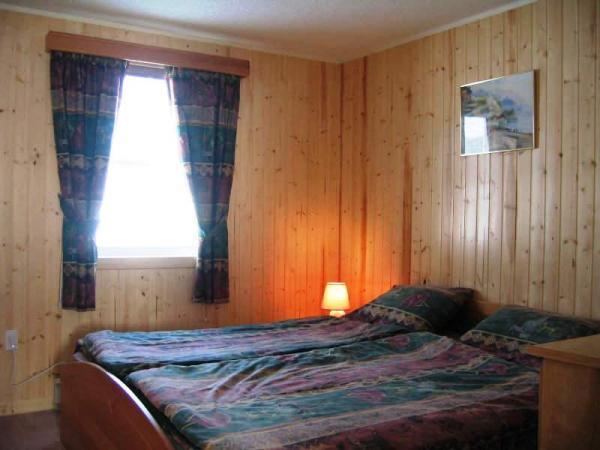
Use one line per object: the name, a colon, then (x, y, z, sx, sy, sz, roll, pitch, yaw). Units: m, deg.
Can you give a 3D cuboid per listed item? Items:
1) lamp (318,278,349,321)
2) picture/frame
lamp: (0.367, 0.714, 4.671, 0.306, 0.307, 0.299, -8, 11, -42)
picture/frame: (1.543, -0.864, 3.698, 0.057, 0.752, 0.775, 1, -1, -38)
